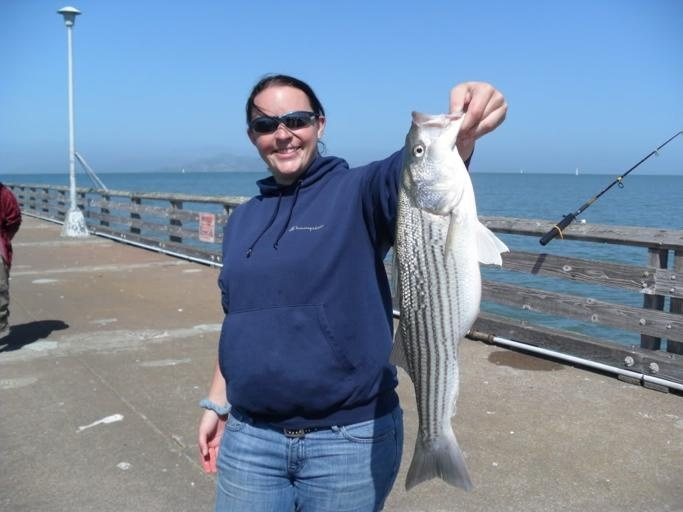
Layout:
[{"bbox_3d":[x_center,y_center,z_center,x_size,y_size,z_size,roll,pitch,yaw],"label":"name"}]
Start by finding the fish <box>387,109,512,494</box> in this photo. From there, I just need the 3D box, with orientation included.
[{"bbox_3d":[0.412,0.218,2.413,0.365,1.636,0.346,0,14,5],"label":"fish"}]

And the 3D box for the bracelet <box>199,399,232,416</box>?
[{"bbox_3d":[-0.670,0.814,2.971,0.132,0.047,0.111,11,-8,24],"label":"bracelet"}]
